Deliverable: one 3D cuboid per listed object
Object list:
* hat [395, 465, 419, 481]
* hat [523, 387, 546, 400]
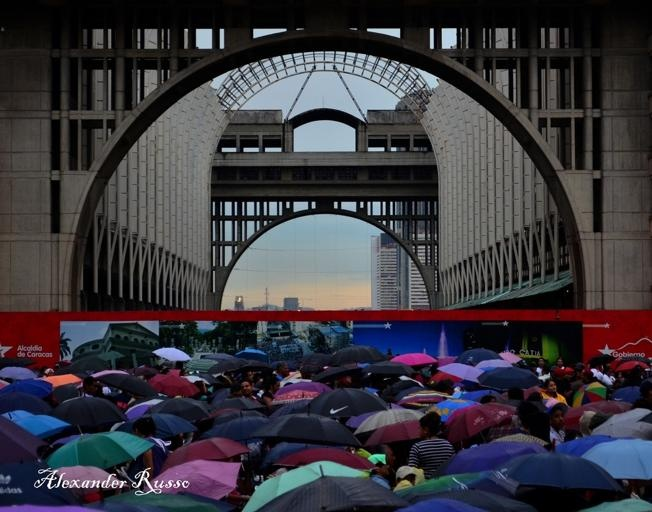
[{"bbox_3d":[1.846,4.915,28.176,0.296,0.205,0.387,7,-28,-31],"label":"hat"},{"bbox_3d":[5.757,3.696,33.777,0.436,0.413,0.452,0,-12,-7],"label":"hat"}]
